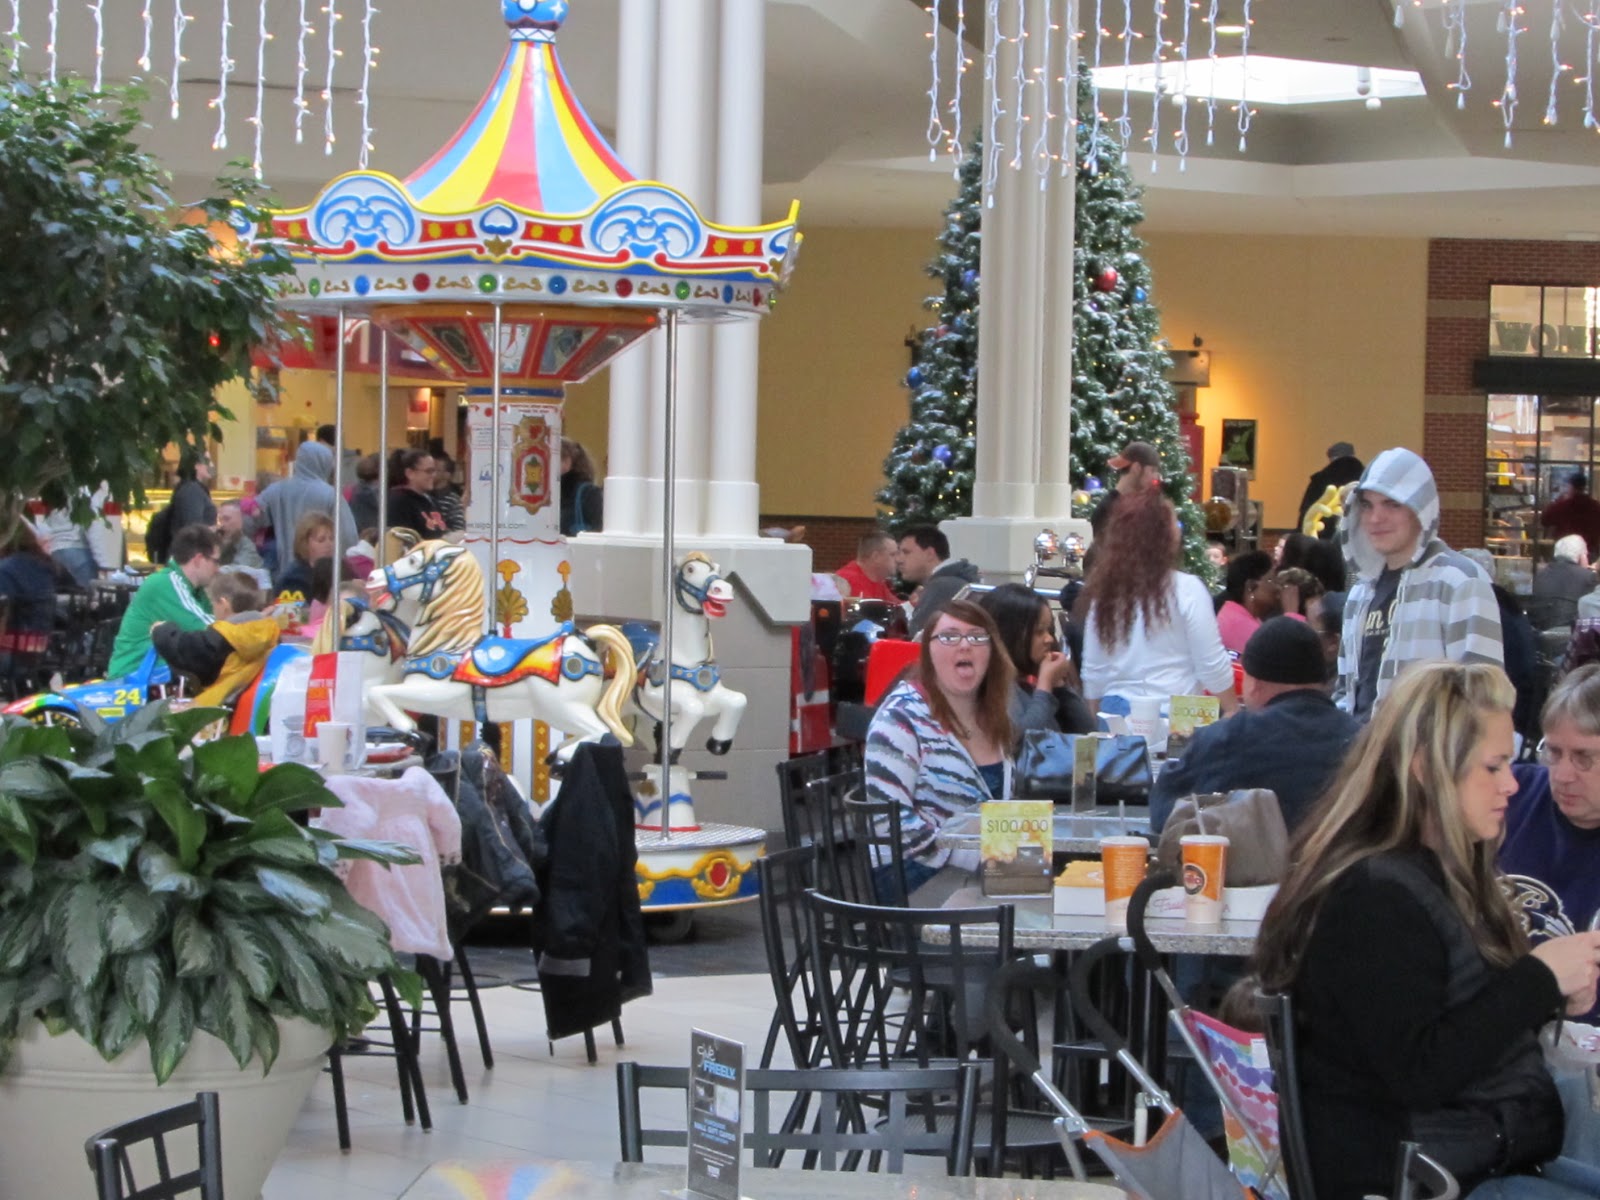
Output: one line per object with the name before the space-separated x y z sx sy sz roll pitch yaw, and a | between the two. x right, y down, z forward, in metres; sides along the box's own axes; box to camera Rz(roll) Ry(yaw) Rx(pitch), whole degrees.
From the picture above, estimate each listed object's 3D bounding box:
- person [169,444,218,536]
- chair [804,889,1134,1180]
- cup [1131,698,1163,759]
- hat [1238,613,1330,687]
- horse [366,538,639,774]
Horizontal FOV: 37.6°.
person | -3.609 -0.461 13.992 0.239 0.806 0.451 0 -9 -11
chair | 0.431 1.127 6.114 0.612 1.082 0.674 8 22 28
cup | 1.256 0.467 8.485 0.152 0.179 0.157 0 4 0
hat | 1.445 0.164 7.097 0.189 0.145 0.206 9 17 7
horse | -1.040 0.246 9.990 1.437 1.112 0.551 4 -2 7
